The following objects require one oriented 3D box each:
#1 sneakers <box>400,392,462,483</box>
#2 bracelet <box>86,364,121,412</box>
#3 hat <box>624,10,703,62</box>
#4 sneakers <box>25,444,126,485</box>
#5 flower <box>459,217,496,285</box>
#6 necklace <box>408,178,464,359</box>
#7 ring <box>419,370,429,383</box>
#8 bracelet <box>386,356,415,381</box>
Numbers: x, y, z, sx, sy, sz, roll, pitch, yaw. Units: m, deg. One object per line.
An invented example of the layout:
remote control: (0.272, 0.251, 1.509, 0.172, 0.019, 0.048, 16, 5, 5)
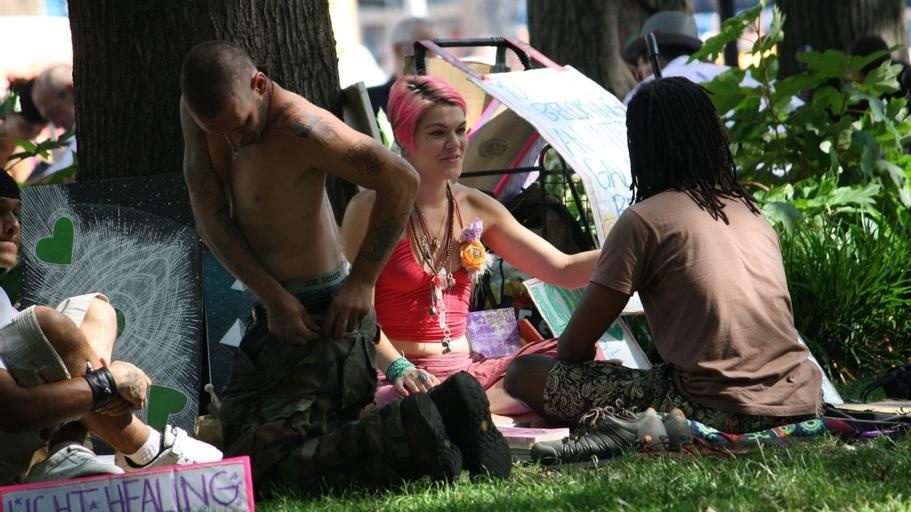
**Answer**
sneakers: (-0.177, 1.118, 6.695, 0.254, 0.699, 0.294, -27, 4, -18)
bracelet: (-2.250, 0.840, 6.719, 0.159, 0.248, 0.247, -21, 11, -32)
hat: (2.288, -2.407, 11.168, 0.905, 0.400, 1.048, -2, -9, -1)
sneakers: (-2.420, 1.324, 6.766, 0.690, 0.276, 0.295, -5, -10, 8)
flower: (0.077, -0.040, 7.915, 0.165, 0.345, 0.522, -15, 9, 18)
necklace: (-0.132, 0.061, 7.873, 0.329, 1.086, 0.094, -4, -12, -6)
ring: (-0.206, 0.827, 7.259, 0.065, 0.063, 0.020, 15, -40, -27)
bracelet: (-0.392, 0.793, 7.346, 0.165, 0.135, 0.166, -44, 8, -37)
